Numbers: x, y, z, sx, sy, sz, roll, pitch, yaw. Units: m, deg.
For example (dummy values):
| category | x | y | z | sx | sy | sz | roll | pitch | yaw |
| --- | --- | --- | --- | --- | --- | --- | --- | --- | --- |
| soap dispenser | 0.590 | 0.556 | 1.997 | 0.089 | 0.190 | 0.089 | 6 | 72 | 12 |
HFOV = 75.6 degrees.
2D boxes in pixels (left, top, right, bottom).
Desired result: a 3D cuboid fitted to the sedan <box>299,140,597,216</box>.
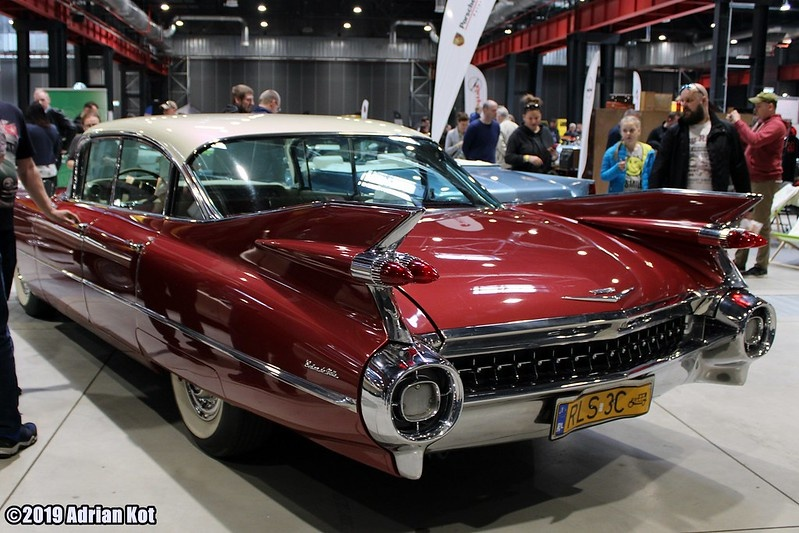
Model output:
| category | x | y | z | sx | sy | sz | roll | pitch | yaw |
| --- | --- | --- | --- | --- | --- | --- | --- | --- | --- |
| sedan | 0.352 | -0.615 | 3.553 | 1.915 | 0.490 | 1.094 | 1 | 13 | -15 |

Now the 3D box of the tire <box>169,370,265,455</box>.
| category | x | y | z | sx | sy | sz | roll | pitch | yaw |
| --- | --- | --- | --- | --- | --- | --- | --- | --- | --- |
| tire | -0.899 | 0.729 | 2.582 | 0.551 | 0.515 | 0.200 | 18 | 16 | 40 |

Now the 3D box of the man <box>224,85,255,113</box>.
| category | x | y | z | sx | sy | sz | roll | pitch | yaw |
| --- | --- | --- | --- | --- | --- | --- | --- | --- | --- |
| man | -2.150 | -2.274 | 6.915 | 0.336 | 0.446 | 1.435 | -3 | 14 | -17 |

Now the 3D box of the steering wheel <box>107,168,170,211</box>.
| category | x | y | z | sx | sy | sz | roll | pitch | yaw |
| --- | --- | --- | --- | --- | --- | --- | --- | --- | --- |
| steering wheel | -1.710 | -0.507 | 3.284 | 0.382 | 0.131 | 0.343 | 14 | 32 | 3 |
